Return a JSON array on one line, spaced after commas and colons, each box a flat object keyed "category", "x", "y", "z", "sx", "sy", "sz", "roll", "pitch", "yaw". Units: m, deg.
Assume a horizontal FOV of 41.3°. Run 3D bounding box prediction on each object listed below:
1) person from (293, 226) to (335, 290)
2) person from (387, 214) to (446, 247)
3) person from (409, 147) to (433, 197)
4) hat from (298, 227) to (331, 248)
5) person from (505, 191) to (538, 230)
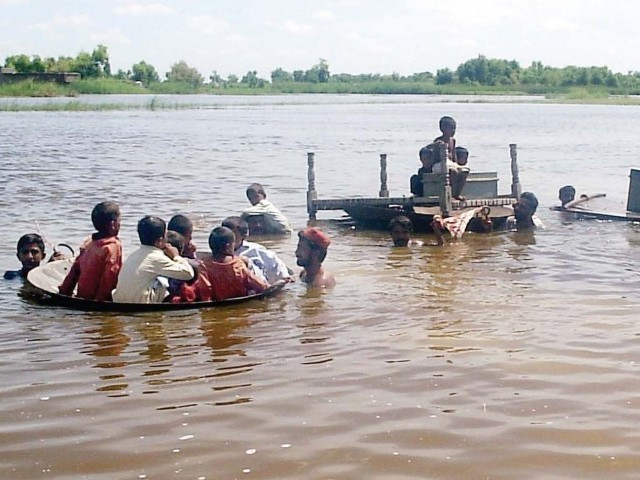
[{"category": "person", "x": -0.070, "y": 0.267, "z": 13.886, "sx": 0.807, "sy": 0.902, "sz": 1.093, "roll": 1, "pitch": 5, "yaw": -11}, {"category": "person", "x": 1.857, "y": -0.183, "z": 17.774, "sx": 0.800, "sy": 0.342, "sz": 0.977, "roll": 0, "pitch": -7, "yaw": 30}, {"category": "person", "x": 2.353, "y": -1.654, "z": 19.819, "sx": 0.489, "sy": 1.185, "sz": 1.201, "roll": 1, "pitch": 9, "yaw": 7}, {"category": "hat", "x": -0.099, "y": -0.042, "z": 13.730, "sx": 0.459, "sy": 0.304, "sz": 0.419, "roll": 0, "pitch": 8, "yaw": 4}, {"category": "person", "x": 4.716, "y": -0.717, "z": 19.899, "sx": 0.637, "sy": 0.873, "sz": 0.646, "roll": 1, "pitch": 9, "yaw": 9}]
